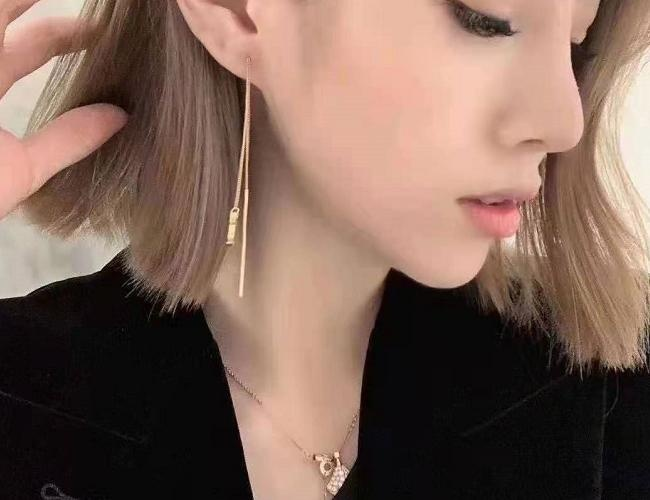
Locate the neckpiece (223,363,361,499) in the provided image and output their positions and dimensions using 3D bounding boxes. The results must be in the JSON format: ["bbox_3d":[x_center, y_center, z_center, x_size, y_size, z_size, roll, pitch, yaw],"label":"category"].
[{"bbox_3d":[-0.081,0.380,1.770,0.176,0.073,0.354,-32,80,-42],"label":"neckpiece"}]
